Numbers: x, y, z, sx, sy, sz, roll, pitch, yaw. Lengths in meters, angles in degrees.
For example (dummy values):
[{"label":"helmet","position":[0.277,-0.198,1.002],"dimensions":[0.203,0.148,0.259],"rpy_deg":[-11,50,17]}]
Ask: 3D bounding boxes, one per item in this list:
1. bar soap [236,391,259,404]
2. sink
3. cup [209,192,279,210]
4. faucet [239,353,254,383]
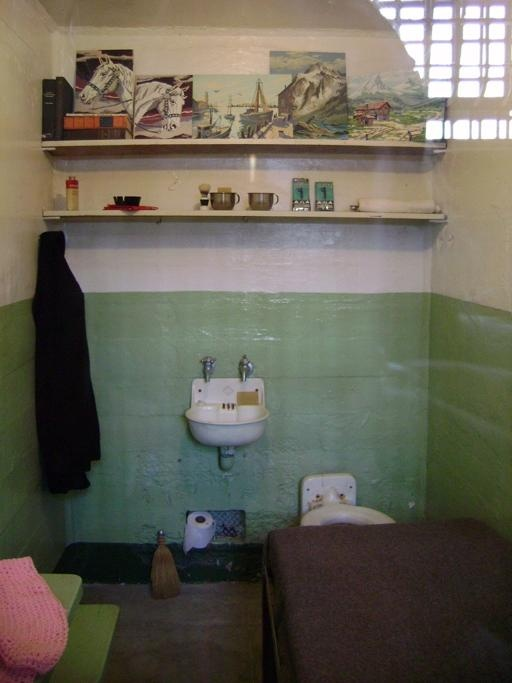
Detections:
[{"label":"bar soap","position":[-0.027,0.192,1.882],"dimensions":[0.066,0.045,0.013],"rpy_deg":[1,1,20]},{"label":"sink","position":[-0.097,0.240,1.906],"dimensions":[0.324,0.254,0.221],"rpy_deg":[0,3,2]},{"label":"cup","position":[-0.040,-0.447,1.833],"dimensions":[0.218,0.059,0.083],"rpy_deg":[0,9,4]},{"label":"faucet","position":[-0.030,0.084,1.850],"dimensions":[0.049,0.064,0.105],"rpy_deg":[11,-27,6]}]
